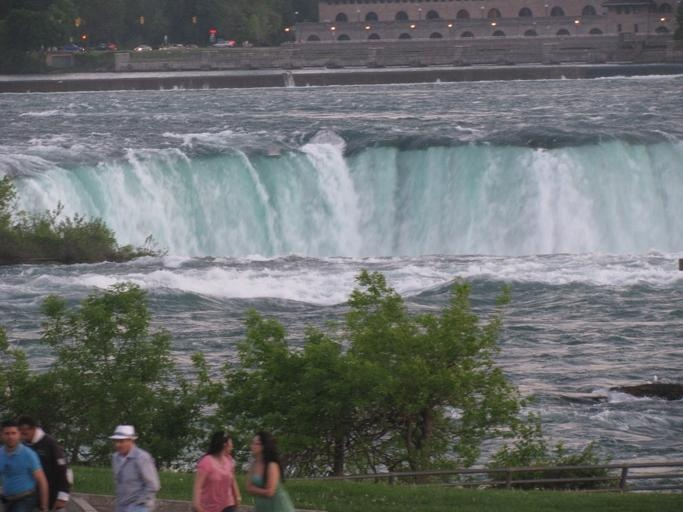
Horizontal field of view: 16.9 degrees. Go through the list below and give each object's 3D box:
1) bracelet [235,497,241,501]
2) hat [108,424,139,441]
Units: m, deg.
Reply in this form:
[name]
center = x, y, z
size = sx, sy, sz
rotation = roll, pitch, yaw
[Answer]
[bracelet]
center = -4.793, 11.348, 107.674
size = 0.299, 0.078, 0.265
rotation = -8, -44, 11
[hat]
center = -10.177, 8.260, 107.708
size = 1.175, 0.697, 0.969
rotation = -1, -8, -6
